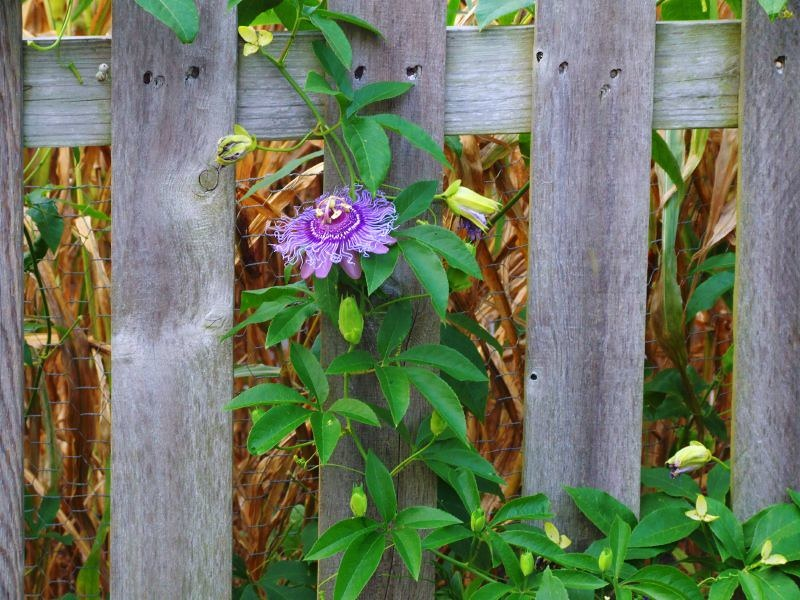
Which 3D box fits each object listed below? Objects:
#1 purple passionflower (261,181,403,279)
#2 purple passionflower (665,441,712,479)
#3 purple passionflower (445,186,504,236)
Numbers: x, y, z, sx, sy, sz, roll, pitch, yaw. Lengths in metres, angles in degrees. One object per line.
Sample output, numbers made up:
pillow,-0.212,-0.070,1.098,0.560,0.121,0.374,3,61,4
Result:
purple passionflower,-0.146,-0.199,3.344,0.243,0.113,0.270,-10,-27,-31
purple passionflower,0.694,0.386,3.411,0.100,0.098,0.095,-1,3,12
purple passionflower,0.169,-0.222,3.404,0.146,0.123,0.140,-3,3,-22
